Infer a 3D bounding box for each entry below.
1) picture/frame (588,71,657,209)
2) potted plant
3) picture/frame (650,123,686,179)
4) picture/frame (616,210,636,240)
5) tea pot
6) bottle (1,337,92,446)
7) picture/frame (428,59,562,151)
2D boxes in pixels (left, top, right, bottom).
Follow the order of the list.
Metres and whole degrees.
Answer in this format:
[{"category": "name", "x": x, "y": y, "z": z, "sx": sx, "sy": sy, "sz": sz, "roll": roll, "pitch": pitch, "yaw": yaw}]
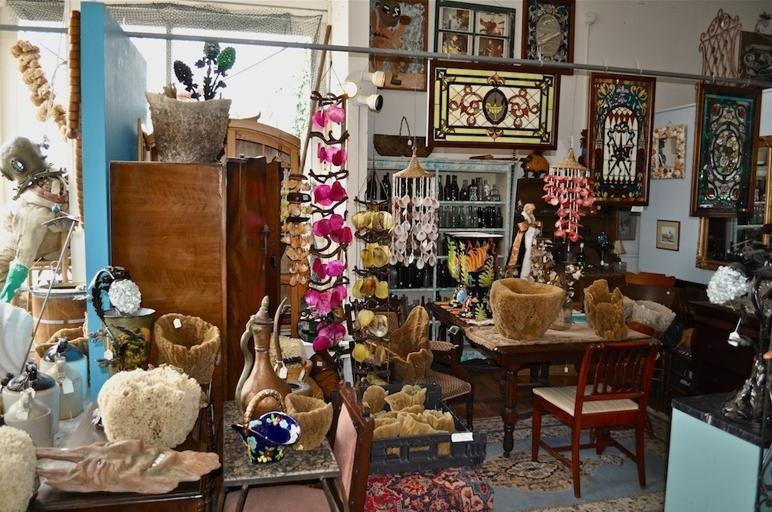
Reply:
[{"category": "picture/frame", "x": 2.669, "y": -1.287, "z": 6.788, "sx": 0.849, "sy": 1.432, "sz": 0.268, "roll": -2, "pitch": 7, "yaw": -23}, {"category": "potted plant", "x": -1.118, "y": -0.888, "z": 3.510, "sx": 0.474, "sy": 0.720, "sz": 0.367, "roll": -1, "pitch": 7, "yaw": -16}, {"category": "picture/frame", "x": 3.671, "y": -1.364, "z": 7.818, "sx": 0.061, "sy": 0.869, "sz": 0.727, "roll": -4, "pitch": 5, "yaw": -22}, {"category": "picture/frame", "x": 3.280, "y": -0.424, "z": 8.267, "sx": 0.400, "sy": 0.493, "sz": 0.047, "roll": 3, "pitch": -3, "yaw": -33}, {"category": "tea pot", "x": -0.649, "y": 0.509, "z": 3.204, "sx": 0.278, "sy": 0.612, "sz": 0.643, "roll": 0, "pitch": 7, "yaw": -11}, {"category": "bottle", "x": -1.688, "y": 0.695, "z": 3.101, "sx": 0.283, "sy": 0.432, "sz": 0.489, "roll": 7, "pitch": 13, "yaw": 4}, {"category": "picture/frame", "x": 1.211, "y": -1.758, "z": 6.959, "sx": 1.122, "sy": 0.648, "sz": 0.053, "roll": 0, "pitch": 12, "yaw": -16}]
